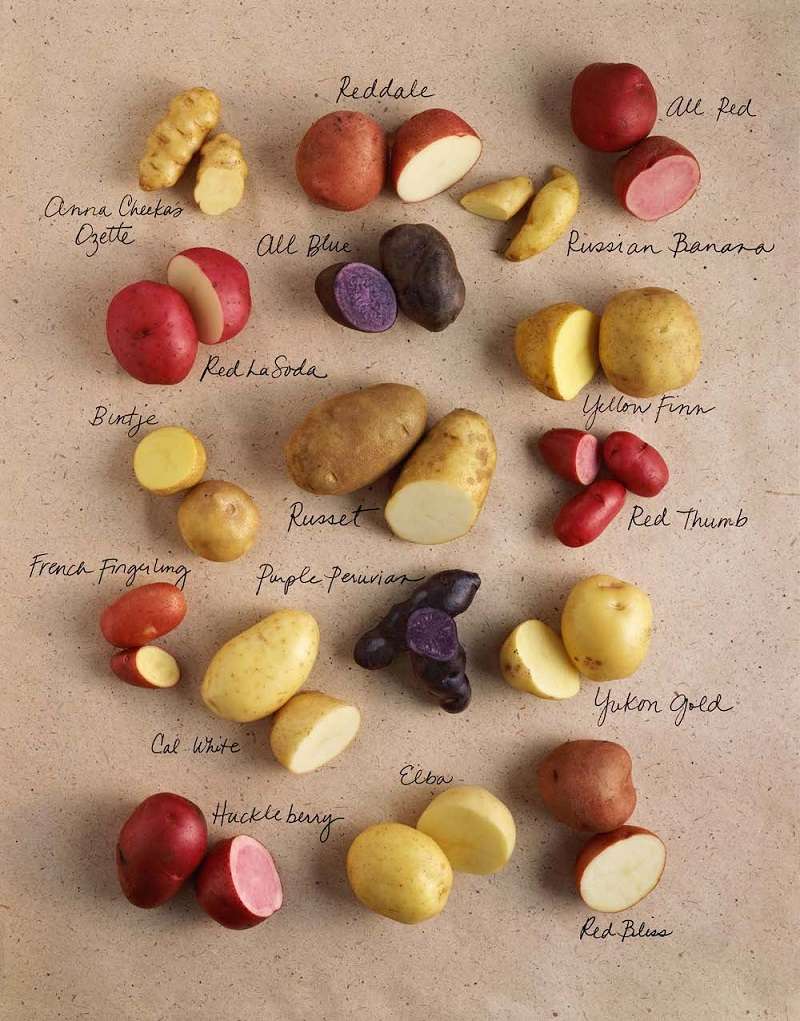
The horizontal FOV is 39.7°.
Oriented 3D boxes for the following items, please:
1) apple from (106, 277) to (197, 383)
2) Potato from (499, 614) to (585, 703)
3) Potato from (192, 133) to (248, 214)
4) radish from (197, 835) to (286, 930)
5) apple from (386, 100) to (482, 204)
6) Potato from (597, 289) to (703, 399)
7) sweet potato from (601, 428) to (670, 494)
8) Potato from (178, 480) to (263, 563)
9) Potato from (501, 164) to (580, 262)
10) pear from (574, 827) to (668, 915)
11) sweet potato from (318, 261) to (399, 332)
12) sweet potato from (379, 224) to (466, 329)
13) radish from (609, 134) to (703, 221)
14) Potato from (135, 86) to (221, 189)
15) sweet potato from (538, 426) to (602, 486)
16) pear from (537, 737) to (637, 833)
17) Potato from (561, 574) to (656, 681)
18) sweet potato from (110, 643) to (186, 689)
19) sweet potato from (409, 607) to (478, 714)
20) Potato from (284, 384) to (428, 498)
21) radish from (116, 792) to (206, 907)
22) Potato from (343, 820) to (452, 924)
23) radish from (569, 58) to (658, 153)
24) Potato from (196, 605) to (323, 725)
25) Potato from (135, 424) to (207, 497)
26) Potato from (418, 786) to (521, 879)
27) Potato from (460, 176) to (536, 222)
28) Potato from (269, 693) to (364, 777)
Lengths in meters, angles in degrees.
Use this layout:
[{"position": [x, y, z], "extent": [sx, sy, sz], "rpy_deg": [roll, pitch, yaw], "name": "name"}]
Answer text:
[{"position": [-0.279, -0.204, 1.273], "extent": [0.104, 0.110, 0.067], "rpy_deg": [-7, 4, 9], "name": "apple"}, {"position": [0.165, 0.182, 1.330], "extent": [0.100, 0.095, 0.042], "rpy_deg": [14, -29, -30], "name": "Potato"}, {"position": [-0.208, -0.394, 1.299], "extent": [0.068, 0.090, 0.032], "rpy_deg": [7, 17, -10], "name": "Potato"}, {"position": [-0.179, 0.433, 1.294], "extent": [0.064, 0.103, 0.106], "rpy_deg": [-10, -18, 41], "name": "radish"}, {"position": [0.041, -0.423, 1.324], "extent": [0.111, 0.098, 0.082], "rpy_deg": [1, -13, 2], "name": "apple"}, {"position": [0.283, -0.195, 1.314], "extent": [0.117, 0.126, 0.101], "rpy_deg": [6, 11, 4], "name": "Potato"}, {"position": [0.281, -0.060, 1.379], "extent": [0.088, 0.061, 0.054], "rpy_deg": [40, 32, 18], "name": "sweet potato"}, {"position": [-0.216, 0.012, 1.311], "extent": [0.092, 0.093, 0.093], "rpy_deg": [4, -13, -9], "name": "Potato"}, {"position": [0.172, -0.351, 1.327], "extent": [0.070, 0.126, 0.046], "rpy_deg": [35, 6, 4], "name": "Potato"}, {"position": [0.258, 0.426, 1.312], "extent": [0.095, 0.099, 0.052], "rpy_deg": [8, -15, -23], "name": "pear"}, {"position": [-0.046, -0.251, 1.302], "extent": [0.087, 0.081, 0.033], "rpy_deg": [-7, 4, -17], "name": "sweet potato"}, {"position": [0.024, -0.279, 1.343], "extent": [0.105, 0.116, 0.068], "rpy_deg": [-10, 3, -2], "name": "sweet potato"}, {"position": [0.307, -0.402, 1.337], "extent": [0.114, 0.100, 0.067], "rpy_deg": [1, 38, 0], "name": "radish"}, {"position": [-0.257, -0.436, 1.340], "extent": [0.075, 0.137, 0.047], "rpy_deg": [36, 10, 1], "name": "Potato"}, {"position": [0.205, -0.070, 1.332], "extent": [0.082, 0.059, 0.059], "rpy_deg": [36, -1, 8], "name": "sweet potato"}, {"position": [0.212, 0.325, 1.320], "extent": [0.097, 0.097, 0.096], "rpy_deg": [5, -8, -3], "name": "pear"}, {"position": [0.247, 0.141, 1.337], "extent": [0.110, 0.124, 0.111], "rpy_deg": [0, -14, 10], "name": "Potato"}, {"position": [-0.297, 0.181, 1.295], "extent": [0.078, 0.048, 0.038], "rpy_deg": [5, -14, -12], "name": "sweet potato"}, {"position": [0.042, 0.174, 1.288], "extent": [0.073, 0.113, 0.038], "rpy_deg": [-26, 12, -31], "name": "sweet potato"}, {"position": [-0.048, -0.084, 1.315], "extent": [0.170, 0.100, 0.091], "rpy_deg": [-26, 11, -1], "name": "Potato"}, {"position": [-0.275, 0.393, 1.279], "extent": [0.099, 0.129, 0.105], "rpy_deg": [9, -15, -25], "name": "radish"}, {"position": [-0.005, 0.423, 1.289], "extent": [0.134, 0.088, 0.098], "rpy_deg": [15, 34, 11], "name": "Potato"}, {"position": [0.255, -0.494, 1.330], "extent": [0.097, 0.100, 0.067], "rpy_deg": [3, -14, -4], "name": "radish"}, {"position": [-0.156, 0.177, 1.314], "extent": [0.153, 0.095, 0.080], "rpy_deg": [-39, -12, -10], "name": "Potato"}, {"position": [-0.271, -0.057, 1.314], "extent": [0.080, 0.075, 0.073], "rpy_deg": [3, -13, -3], "name": "Potato"}, {"position": [0.079, 0.375, 1.295], "extent": [0.112, 0.104, 0.068], "rpy_deg": [-23, 3, 22], "name": "Potato"}, {"position": [0.119, -0.378, 1.334], "extent": [0.083, 0.047, 0.048], "rpy_deg": [-24, 43, -14], "name": "Potato"}, {"position": [-0.115, 0.250, 1.321], "extent": [0.107, 0.094, 0.040], "rpy_deg": [21, 13, -47], "name": "Potato"}]
